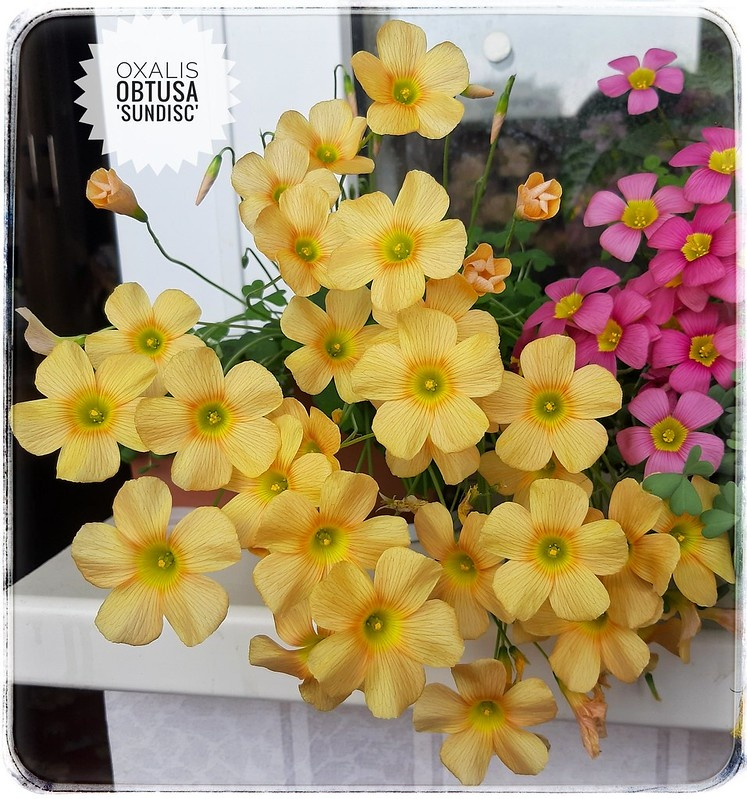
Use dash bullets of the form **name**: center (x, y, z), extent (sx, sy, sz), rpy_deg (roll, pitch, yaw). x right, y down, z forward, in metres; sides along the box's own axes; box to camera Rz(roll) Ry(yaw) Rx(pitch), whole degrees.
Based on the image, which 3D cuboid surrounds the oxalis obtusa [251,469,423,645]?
- **oxalis obtusa**: center (-0.034, 0.089, 0.452), extent (0.087, 0.027, 0.087), rpy_deg (-23, 91, -3)

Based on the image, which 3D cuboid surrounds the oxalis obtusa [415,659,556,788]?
- **oxalis obtusa**: center (0.079, 0.203, 0.501), extent (0.091, 0.031, 0.091), rpy_deg (-12, 96, 12)

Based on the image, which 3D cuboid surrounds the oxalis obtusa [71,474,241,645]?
- **oxalis obtusa**: center (-0.130, 0.098, 0.511), extent (0.101, 0.043, 0.104), rpy_deg (39, 99, 5)

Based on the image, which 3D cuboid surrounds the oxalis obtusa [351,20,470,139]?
- **oxalis obtusa**: center (0.025, -0.190, 0.516), extent (0.080, 0.035, 0.085), rpy_deg (10, 56, 3)

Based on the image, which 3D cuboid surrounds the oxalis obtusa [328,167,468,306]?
- **oxalis obtusa**: center (0.013, -0.079, 0.461), extent (0.084, 0.038, 0.076), rpy_deg (-1, 56, -5)

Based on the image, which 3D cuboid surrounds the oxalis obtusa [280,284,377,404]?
- **oxalis obtusa**: center (-0.036, -0.024, 0.501), extent (0.069, 0.022, 0.069), rpy_deg (12, 97, 2)

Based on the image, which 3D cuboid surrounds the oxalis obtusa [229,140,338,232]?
- **oxalis obtusa**: center (-0.061, -0.122, 0.535), extent (0.072, 0.081, 0.023), rpy_deg (-15, 60, -7)

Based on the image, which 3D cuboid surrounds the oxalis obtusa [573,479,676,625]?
- **oxalis obtusa**: center (0.169, 0.085, 0.471), extent (0.071, 0.084, 0.028), rpy_deg (13, 42, 19)

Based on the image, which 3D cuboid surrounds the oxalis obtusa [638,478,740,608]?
- **oxalis obtusa**: center (0.220, 0.094, 0.506), extent (0.076, 0.025, 0.075), rpy_deg (-27, 97, -18)

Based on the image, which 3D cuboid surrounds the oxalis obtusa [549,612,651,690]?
- **oxalis obtusa**: center (0.147, 0.163, 0.484), extent (0.051, 0.025, 0.049), rpy_deg (-40, 80, 10)

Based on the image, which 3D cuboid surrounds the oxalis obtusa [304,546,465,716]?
- **oxalis obtusa**: center (0.002, 0.136, 0.456), extent (0.093, 0.036, 0.099), rpy_deg (-6, 91, -15)

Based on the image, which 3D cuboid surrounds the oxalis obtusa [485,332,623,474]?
- **oxalis obtusa**: center (0.113, 0.016, 0.471), extent (0.077, 0.044, 0.072), rpy_deg (31, 59, 16)

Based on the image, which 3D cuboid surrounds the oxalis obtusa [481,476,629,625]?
- **oxalis obtusa**: center (0.111, 0.100, 0.467), extent (0.088, 0.026, 0.086), rpy_deg (15, 56, 15)

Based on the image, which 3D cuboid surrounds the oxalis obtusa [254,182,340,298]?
- **oxalis obtusa**: center (-0.053, -0.086, 0.487), extent (0.062, 0.030, 0.067), rpy_deg (10, 89, -1)

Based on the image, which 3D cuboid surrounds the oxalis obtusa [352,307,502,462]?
- **oxalis obtusa**: center (0.030, 0.002, 0.453), extent (0.087, 0.043, 0.074), rpy_deg (19, 57, 9)
